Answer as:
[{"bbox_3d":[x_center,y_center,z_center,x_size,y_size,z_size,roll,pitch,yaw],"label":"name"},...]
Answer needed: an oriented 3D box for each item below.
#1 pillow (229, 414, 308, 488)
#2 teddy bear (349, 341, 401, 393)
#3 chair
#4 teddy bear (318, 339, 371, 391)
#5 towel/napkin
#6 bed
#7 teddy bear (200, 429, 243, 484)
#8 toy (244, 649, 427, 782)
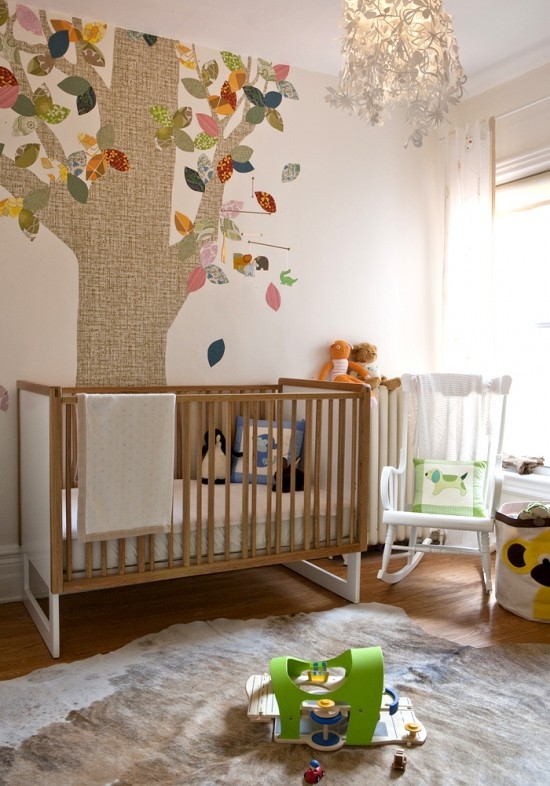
[{"bbox_3d":[-0.011,0.230,2.516,0.291,0.312,0.120,2,-13,-11],"label":"pillow"},{"bbox_3d":[0.479,-0.128,3.044,0.238,0.261,0.200,-3,-6,36],"label":"teddy bear"},{"bbox_3d":[0.693,0.355,2.564,0.609,0.876,0.647,0,-1,-14],"label":"chair"},{"bbox_3d":[0.303,-0.110,3.025,0.232,0.257,0.214,2,-13,-17],"label":"teddy bear"},{"bbox_3d":[-0.458,0.168,1.870,0.359,0.053,0.509,-1,34,-12],"label":"towel/napkin"},{"bbox_3d":[-0.295,0.387,2.352,1.171,0.853,0.662,1,-1,-34],"label":"bed"},{"bbox_3d":[-0.211,0.249,2.561,0.179,0.213,0.092,-3,14,-1],"label":"teddy bear"},{"bbox_3d":[0.139,0.742,1.451,0.345,0.179,0.207,-3,27,-1],"label":"toy"}]
